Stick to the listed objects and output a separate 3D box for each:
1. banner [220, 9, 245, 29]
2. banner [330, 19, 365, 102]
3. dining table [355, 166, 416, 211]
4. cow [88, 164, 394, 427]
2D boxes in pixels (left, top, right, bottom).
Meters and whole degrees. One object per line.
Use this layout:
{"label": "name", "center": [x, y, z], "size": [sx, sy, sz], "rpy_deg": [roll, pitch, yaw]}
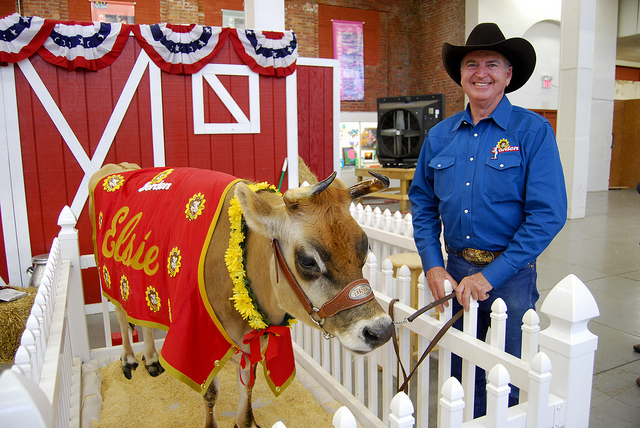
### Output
{"label": "banner", "center": [-2.498, -5.537, 14.934], "size": [0.643, 0.452, 0.421], "rpy_deg": [-4, 8, -16]}
{"label": "banner", "center": [0.969, -4.876, 16.629], "size": [1.350, 2.548, 0.070], "rpy_deg": [13, 30, 30]}
{"label": "dining table", "center": [1.135, -0.431, 8.794], "size": [1.072, 0.729, 1.111], "rpy_deg": [6, 12, 30]}
{"label": "cow", "center": [-0.788, 0.775, 4.363], "size": [2.847, 2.289, 1.066], "rpy_deg": [4, 9, 38]}
